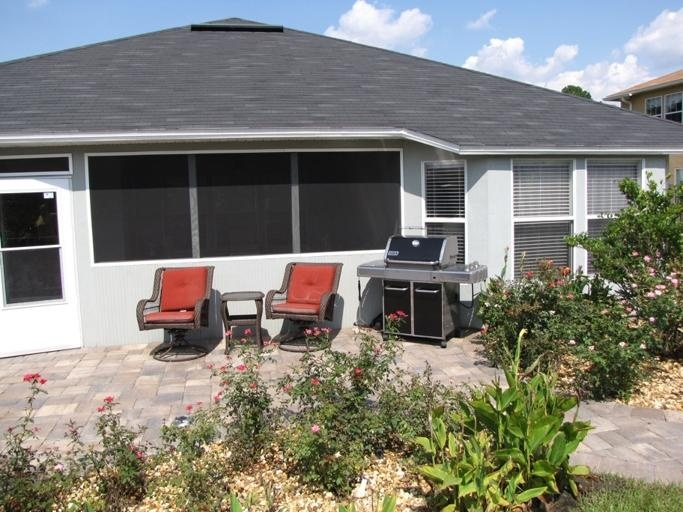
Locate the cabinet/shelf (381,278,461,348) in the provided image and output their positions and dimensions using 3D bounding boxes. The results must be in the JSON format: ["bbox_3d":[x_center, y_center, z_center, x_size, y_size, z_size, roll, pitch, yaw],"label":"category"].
[{"bbox_3d":[1.287,0.700,8.038,1.066,1.085,0.897,0,-1,19],"label":"cabinet/shelf"}]
